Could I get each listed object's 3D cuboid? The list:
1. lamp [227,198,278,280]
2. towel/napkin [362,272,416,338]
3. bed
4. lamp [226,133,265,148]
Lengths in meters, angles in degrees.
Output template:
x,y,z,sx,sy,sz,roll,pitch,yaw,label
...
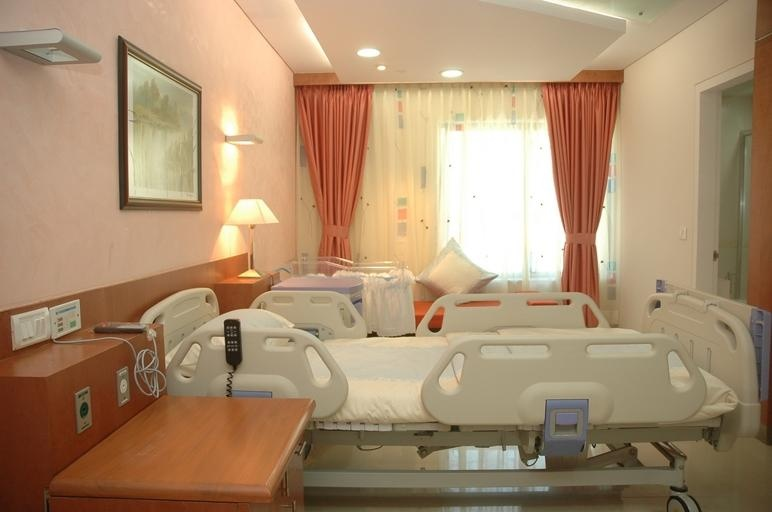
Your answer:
x,y,z,sx,sy,sz,roll,pitch,yaw,label
-1.002,-0.145,4.229,0.347,0.587,0.565,0,6,-2,lamp
0.024,0.410,4.862,0.503,0.696,0.545,0,-1,-35,towel/napkin
0.271,0.643,3.384,3.180,1.429,1.458,0,8,1,bed
-1.062,-0.899,4.233,0.257,0.113,0.444,1,6,-1,lamp
